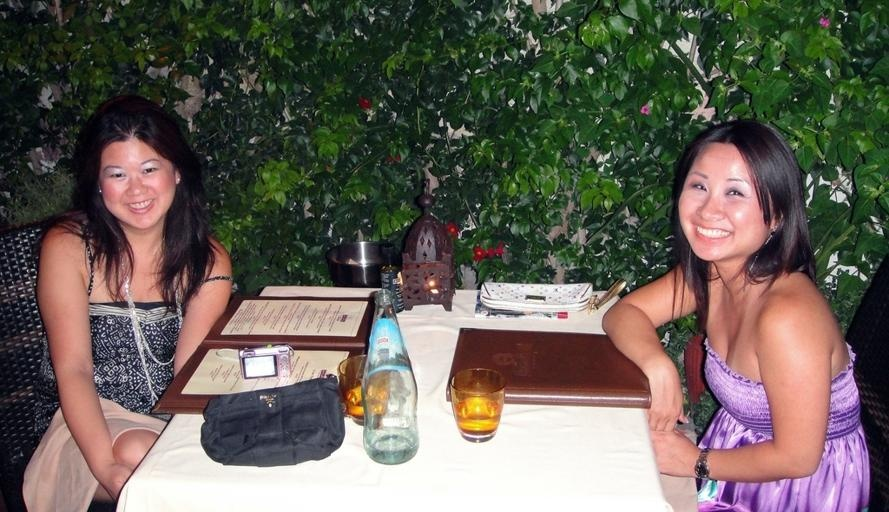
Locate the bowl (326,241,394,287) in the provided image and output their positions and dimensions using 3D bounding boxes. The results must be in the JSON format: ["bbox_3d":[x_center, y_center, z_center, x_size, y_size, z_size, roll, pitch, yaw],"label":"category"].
[{"bbox_3d":[-0.501,0.026,3.510,0.322,0.129,0.345,0,14,0],"label":"bowl"}]

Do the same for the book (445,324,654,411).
[{"bbox_3d":[0.392,0.484,2.560,0.770,0.101,0.524,1,18,-4],"label":"book"}]

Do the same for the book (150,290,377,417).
[{"bbox_3d":[-0.738,0.443,2.709,0.617,0.048,0.646,0,26,1],"label":"book"}]

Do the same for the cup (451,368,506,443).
[{"bbox_3d":[0.095,0.564,2.338,0.234,0.236,0.250,0,11,0],"label":"cup"}]

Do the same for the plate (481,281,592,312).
[{"bbox_3d":[0.451,0.202,2.987,0.383,0.071,0.222,0,16,3],"label":"plate"}]

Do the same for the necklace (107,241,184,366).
[{"bbox_3d":[-1.396,0.242,2.852,0.306,0.509,0.279,-2,-13,-18],"label":"necklace"}]

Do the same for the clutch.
[{"bbox_3d":[-0.625,0.621,2.207,0.432,0.152,0.258,-1,45,-5],"label":"clutch"}]

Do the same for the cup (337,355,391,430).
[{"bbox_3d":[-0.355,0.506,2.309,0.236,0.254,0.245,-2,-1,0],"label":"cup"}]
